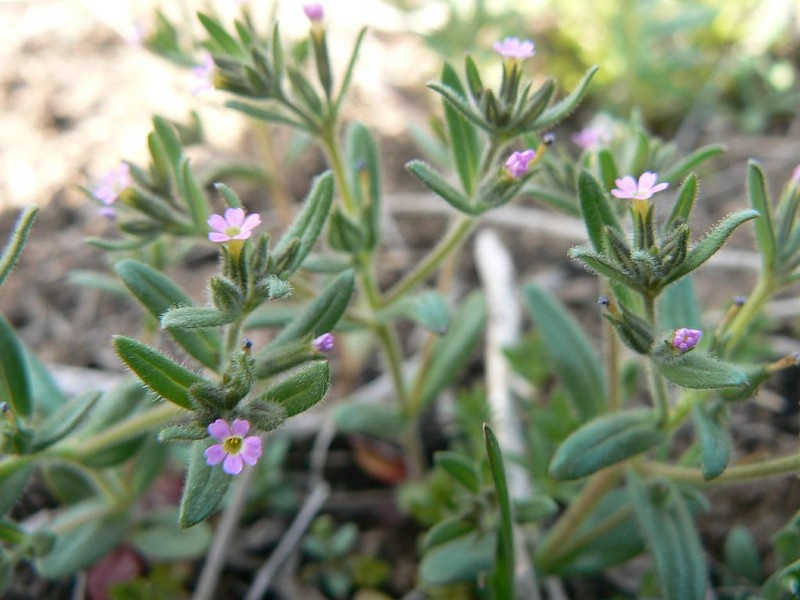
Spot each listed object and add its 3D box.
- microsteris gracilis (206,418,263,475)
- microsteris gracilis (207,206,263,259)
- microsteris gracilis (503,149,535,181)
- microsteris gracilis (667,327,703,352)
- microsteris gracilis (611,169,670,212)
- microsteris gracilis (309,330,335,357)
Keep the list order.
[{"bbox_3d":[-0.472,0.409,2.231,0.151,0.049,0.164,-24,90,-3],"label":"microsteris gracilis"},{"bbox_3d":[-0.483,-0.214,2.342,0.137,0.142,0.111,4,84,21],"label":"microsteris gracilis"},{"bbox_3d":[0.375,-0.432,2.510,0.051,0.109,0.069,22,89,-16],"label":"microsteris gracilis"},{"bbox_3d":[0.839,0.100,2.329,0.064,0.052,0.085,2,76,15],"label":"microsteris gracilis"},{"bbox_3d":[0.721,-0.342,2.346,0.148,0.063,0.150,-30,32,0],"label":"microsteris gracilis"},{"bbox_3d":[-0.227,0.123,2.368,0.075,0.037,0.048,-13,55,43],"label":"microsteris gracilis"}]
